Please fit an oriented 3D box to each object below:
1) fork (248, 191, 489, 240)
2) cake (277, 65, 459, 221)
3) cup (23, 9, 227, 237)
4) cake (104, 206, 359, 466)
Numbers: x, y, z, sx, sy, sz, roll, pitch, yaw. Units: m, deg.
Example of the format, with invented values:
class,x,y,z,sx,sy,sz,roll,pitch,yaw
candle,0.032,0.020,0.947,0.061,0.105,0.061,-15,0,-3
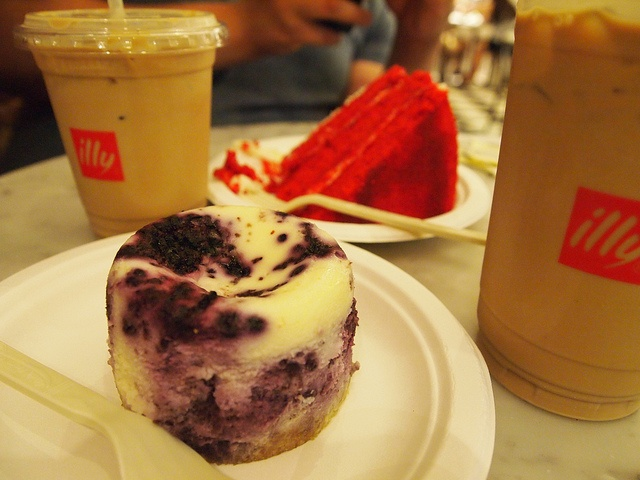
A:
class,x,y,z,sx,sy,sz,roll,pitch,yaw
fork,0.119,-0.049,1.204,0.314,0.028,0.032,17,62,34
cake,0.116,-0.209,1.391,0.418,0.148,0.311,-3,48,25
cup,-0.378,-0.288,1.358,0.436,0.431,0.445,1,29,-1
cake,-0.165,0.163,0.925,0.360,0.236,0.365,16,32,19
